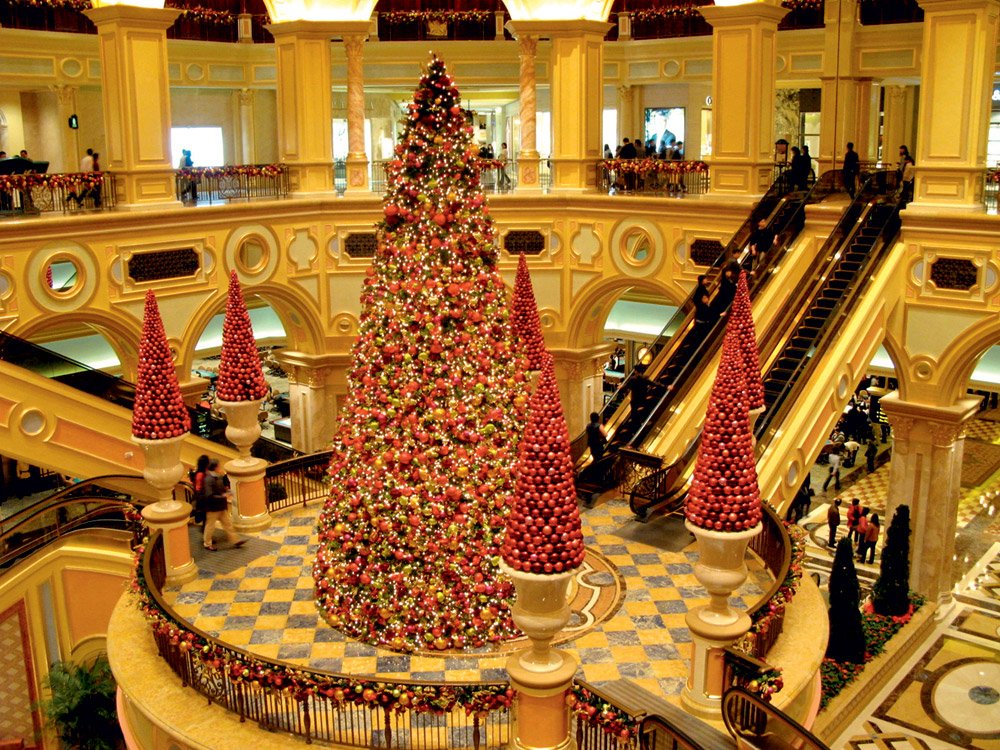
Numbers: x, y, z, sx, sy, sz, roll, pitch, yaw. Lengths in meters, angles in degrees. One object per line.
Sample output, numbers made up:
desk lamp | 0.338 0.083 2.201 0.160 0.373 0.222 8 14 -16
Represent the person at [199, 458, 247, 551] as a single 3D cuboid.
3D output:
person | -2.983 1.368 7.877 0.452 0.978 0.334 -2 14 -20
